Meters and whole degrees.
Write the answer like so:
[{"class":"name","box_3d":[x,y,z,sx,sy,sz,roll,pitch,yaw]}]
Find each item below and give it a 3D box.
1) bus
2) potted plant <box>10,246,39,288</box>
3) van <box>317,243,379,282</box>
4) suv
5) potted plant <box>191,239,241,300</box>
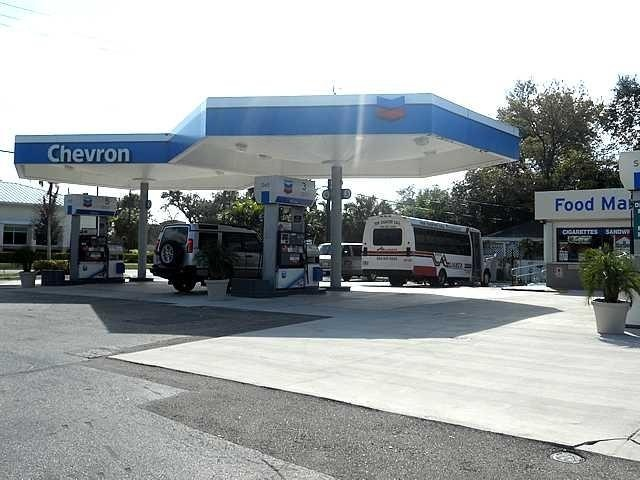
[{"class":"bus","box_3d":[6.333,0.589,28.893,8.942,3.617,2.581,1,1,-40]},{"class":"potted plant","box_3d":[-14.302,1.330,25.285,0.901,1.824,0.901,0,3,-35]},{"class":"van","box_3d":[0.965,1.446,33.140,3.514,1.842,2.013,-2,1,-44]},{"class":"suv","box_3d":[-4.064,0.796,21.427,2.256,2.684,5.595,1,-2,36]},{"class":"potted plant","box_3d":[-3.377,0.979,17.910,1.606,2.525,1.820,1,0,23]}]
